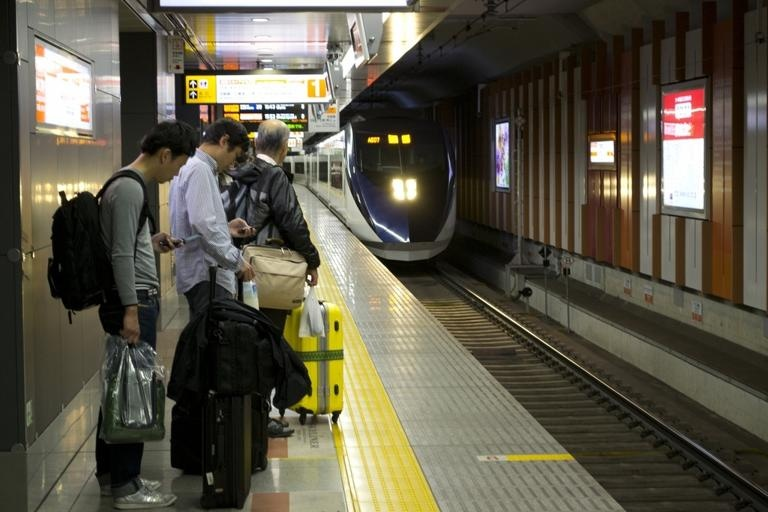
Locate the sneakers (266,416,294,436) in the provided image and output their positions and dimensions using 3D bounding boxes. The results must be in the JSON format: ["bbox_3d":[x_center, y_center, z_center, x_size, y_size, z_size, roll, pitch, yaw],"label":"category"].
[{"bbox_3d":[-0.802,1.316,4.515,0.193,0.075,0.189,5,14,-1],"label":"sneakers"}]

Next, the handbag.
[{"bbox_3d":[-0.754,0.152,4.354,0.640,0.670,0.377,5,-3,-34],"label":"handbag"}]

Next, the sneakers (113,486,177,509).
[{"bbox_3d":[-1.445,1.465,3.541,0.366,0.160,0.131,0,0,-11],"label":"sneakers"}]
